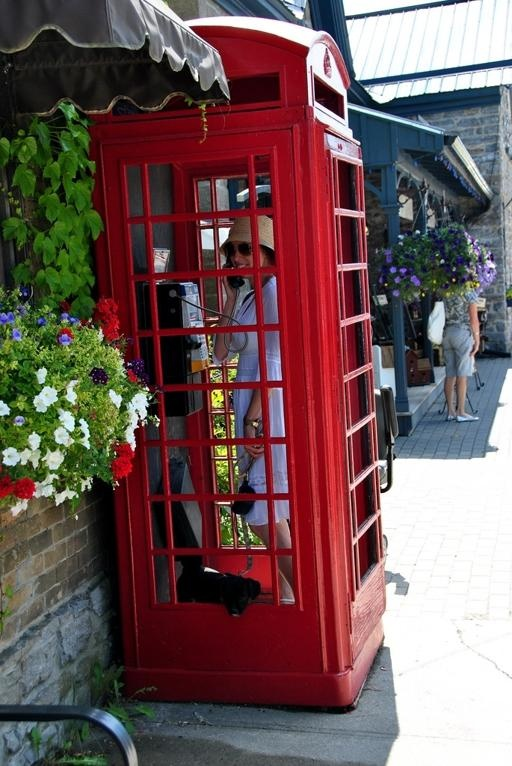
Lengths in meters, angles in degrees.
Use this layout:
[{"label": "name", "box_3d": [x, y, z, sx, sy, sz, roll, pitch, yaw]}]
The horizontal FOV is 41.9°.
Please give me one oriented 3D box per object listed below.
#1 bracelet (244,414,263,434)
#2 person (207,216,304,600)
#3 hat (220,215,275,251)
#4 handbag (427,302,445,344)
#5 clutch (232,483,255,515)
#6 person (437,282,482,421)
[{"label": "bracelet", "box_3d": [-0.011, 0.182, 2.930, 0.088, 0.049, 0.066, -5, -13, 9]}, {"label": "person", "box_3d": [-0.027, 0.105, 2.899, 0.318, 1.545, 0.764, -2, 1, -1]}, {"label": "hat", "box_3d": [-0.039, -0.663, 2.873, 0.226, 0.148, 0.419, -2, 1, -3]}, {"label": "handbag", "box_3d": [2.371, -0.795, 8.804, 0.209, 0.459, 0.478, -2, 1, 15]}, {"label": "clutch", "box_3d": [-0.065, 0.503, 2.832, 0.085, 0.137, 0.049, 21, 8, 29]}, {"label": "person", "box_3d": [2.716, -0.304, 8.904, 0.453, 1.345, 0.736, -2, 1, 16]}]
